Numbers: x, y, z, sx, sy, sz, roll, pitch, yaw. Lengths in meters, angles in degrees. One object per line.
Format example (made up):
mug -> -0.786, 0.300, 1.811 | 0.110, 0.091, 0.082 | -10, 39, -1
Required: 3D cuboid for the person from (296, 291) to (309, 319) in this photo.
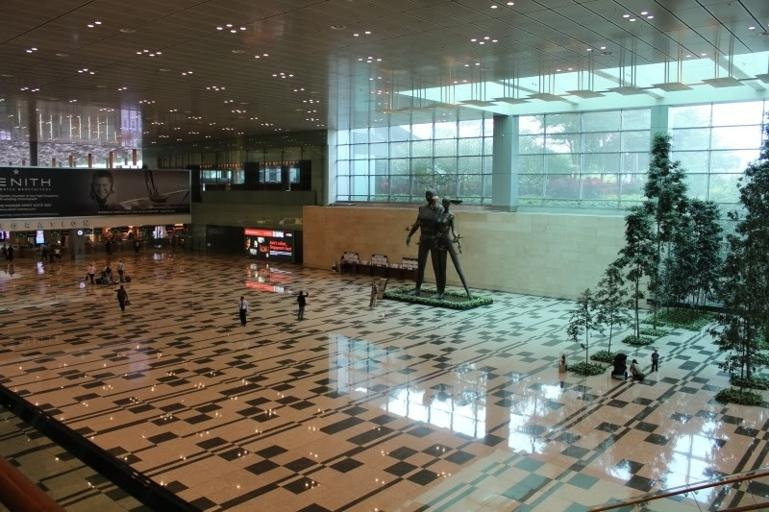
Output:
person -> -3.498, 1.990, 21.917 | 0.445, 1.013, 1.479 | -6, 9, -9
